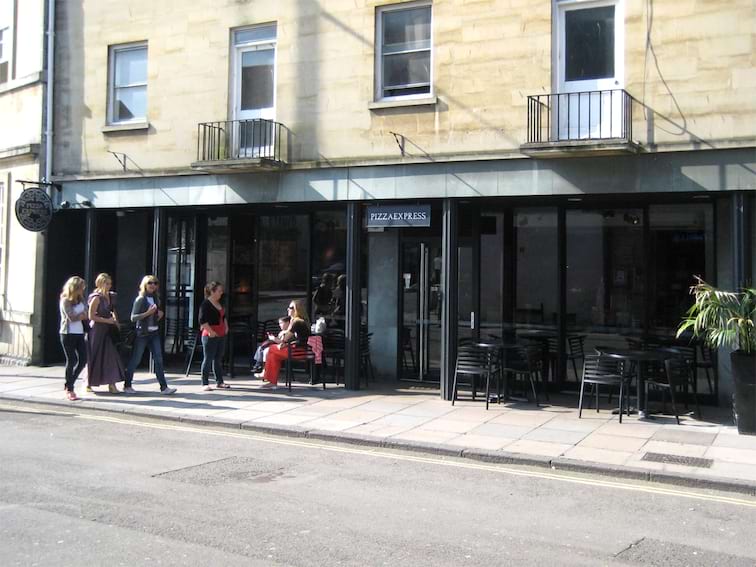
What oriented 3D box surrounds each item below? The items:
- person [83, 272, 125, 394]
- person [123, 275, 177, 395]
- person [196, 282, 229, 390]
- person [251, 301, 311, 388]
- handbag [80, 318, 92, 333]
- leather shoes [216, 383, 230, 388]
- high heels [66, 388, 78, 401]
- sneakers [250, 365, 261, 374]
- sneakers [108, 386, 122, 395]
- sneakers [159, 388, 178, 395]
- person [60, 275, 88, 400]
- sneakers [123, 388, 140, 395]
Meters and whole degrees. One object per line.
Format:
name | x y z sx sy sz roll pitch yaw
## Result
person | -5.210 0.959 15.559 0.682 2.273 0.685 -1 6 -21
person | -4.533 0.977 16.045 0.904 2.288 1.257 -1 5 -17
person | -3.317 1.010 16.502 0.577 2.192 1.353 -1 5 -13
person | -1.872 1.223 16.366 0.962 1.735 0.585 0 5 -6
handbag | -5.477 0.771 15.323 0.188 0.347 0.198 5 -7 -40
leather shoes | -3.107 2.003 16.293 0.239 0.108 0.118 0 1 2
high heels | -5.691 2.036 15.174 0.366 0.165 0.126 0 -1 44
sneakers | -2.782 1.872 18.233 0.362 0.150 0.121 7 -7 -36
sneakers | -5.057 2.029 15.712 0.103 0.150 0.329 4 -10 -39
sneakers | -4.048 2.063 15.787 0.299 0.132 0.112 0 7 -9
person | -5.667 0.999 15.264 0.458 2.221 0.788 -1 5 -20
sneakers | -4.805 2.073 15.865 0.345 0.137 0.129 0 0 27
